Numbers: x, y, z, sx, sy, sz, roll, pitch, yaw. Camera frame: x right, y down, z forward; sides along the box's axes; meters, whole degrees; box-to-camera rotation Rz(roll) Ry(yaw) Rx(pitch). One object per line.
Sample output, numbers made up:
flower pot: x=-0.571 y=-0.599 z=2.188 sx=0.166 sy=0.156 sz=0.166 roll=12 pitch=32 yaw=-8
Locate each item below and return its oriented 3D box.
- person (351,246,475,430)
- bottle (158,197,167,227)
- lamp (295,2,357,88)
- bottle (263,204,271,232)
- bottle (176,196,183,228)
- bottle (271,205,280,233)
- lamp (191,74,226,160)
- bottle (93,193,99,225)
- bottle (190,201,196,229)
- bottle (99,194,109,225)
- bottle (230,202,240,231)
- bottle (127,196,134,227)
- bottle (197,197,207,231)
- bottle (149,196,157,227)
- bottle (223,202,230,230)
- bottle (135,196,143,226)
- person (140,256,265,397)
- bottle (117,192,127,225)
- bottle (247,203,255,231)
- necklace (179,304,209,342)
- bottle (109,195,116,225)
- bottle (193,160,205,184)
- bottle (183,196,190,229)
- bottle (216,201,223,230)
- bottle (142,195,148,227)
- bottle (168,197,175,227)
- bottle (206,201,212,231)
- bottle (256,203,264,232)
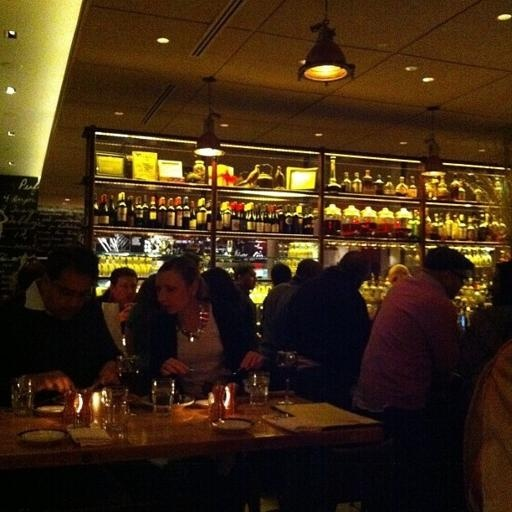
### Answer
person: x=0.908 y=0.397 z=2.867 sx=0.572 sy=0.899 sz=0.492 roll=3 pitch=0 yaw=-22
bottle: x=-1.016 y=-0.476 z=5.870 sx=0.098 sy=0.301 sz=0.134 roll=3 pitch=0 yaw=-10
lamp: x=0.445 y=-1.266 z=3.285 sx=0.342 sy=0.474 sz=0.305 roll=3 pitch=0 yaw=20
bottle: x=0.128 y=-0.431 z=6.282 sx=0.097 sy=0.312 sz=0.133 roll=3 pitch=0 yaw=0
bottle: x=-0.840 y=-0.479 z=5.924 sx=0.084 sy=0.325 sz=0.164 roll=3 pitch=0 yaw=-9
bottle: x=0.217 y=-0.429 z=6.325 sx=0.113 sy=0.295 sz=0.104 roll=3 pitch=0 yaw=0
lamp: x=-0.450 y=-1.266 z=5.285 sx=0.248 sy=0.696 sz=1.170 roll=3 pitch=1 yaw=-6
bottle: x=-1.628 y=-0.478 z=5.508 sx=0.059 sy=0.291 sz=0.132 roll=3 pitch=0 yaw=-17
bottle: x=-0.689 y=-0.450 z=5.951 sx=0.084 sy=0.290 sz=0.151 roll=3 pitch=0 yaw=-7
bottle: x=-1.579 y=-0.486 z=5.610 sx=0.105 sy=0.295 sz=0.237 roll=3 pitch=0 yaw=-16
bottle: x=-0.232 y=-0.460 z=6.120 sx=0.112 sy=0.326 sz=0.169 roll=3 pitch=0 yaw=-4
bottle: x=-1.331 y=-0.479 z=5.749 sx=0.084 sy=0.299 sz=0.221 roll=3 pitch=0 yaw=-15
bottle: x=-0.597 y=-0.464 z=5.957 sx=0.119 sy=0.331 sz=0.122 roll=3 pitch=0 yaw=0
bottle: x=-1.120 y=-0.501 z=5.885 sx=0.086 sy=0.305 sz=0.196 roll=3 pitch=0 yaw=-11
bottle: x=-0.333 y=-0.466 z=6.089 sx=0.099 sy=0.299 sz=0.101 roll=3 pitch=0 yaw=0
bottle: x=-1.248 y=-0.474 z=5.767 sx=0.089 sy=0.297 sz=0.149 roll=3 pitch=0 yaw=-12
person: x=-0.252 y=0.347 z=2.796 sx=0.622 sy=0.687 sz=0.571 roll=2 pitch=1 yaw=-21
bottle: x=-1.411 y=-0.513 z=5.697 sx=0.106 sy=0.311 sz=0.219 roll=3 pitch=0 yaw=-14
bottle: x=-0.063 y=-0.464 z=6.245 sx=0.106 sy=0.325 sz=0.229 roll=3 pitch=0 yaw=-2
necklace: x=-0.327 y=0.350 z=2.795 sx=0.180 sy=0.176 sz=0.039 roll=0 pitch=-15 yaw=-6
bottle: x=-1.507 y=-0.486 z=5.690 sx=0.080 sy=0.291 sz=0.128 roll=3 pitch=0 yaw=-19
bottle: x=-0.630 y=-0.944 z=6.000 sx=0.137 sy=0.243 sz=0.119 roll=3 pitch=1 yaw=-33
bottle: x=-0.763 y=-0.478 z=5.953 sx=0.084 sy=0.332 sz=0.146 roll=3 pitch=0 yaw=-9
bottle: x=-0.405 y=-0.451 z=6.061 sx=0.072 sy=0.298 sz=0.092 roll=3 pitch=0 yaw=-8
bottle: x=-1.192 y=-0.502 z=5.866 sx=0.067 sy=0.315 sz=0.205 roll=3 pitch=0 yaw=-11
bottle: x=-0.925 y=-0.476 z=5.914 sx=0.096 sy=0.307 sz=0.228 roll=3 pitch=0 yaw=-9
bottle: x=-0.496 y=-0.430 z=5.920 sx=0.067 sy=0.282 sz=0.167 roll=3 pitch=0 yaw=-16
bottle: x=0.046 y=-0.431 z=6.250 sx=0.118 sy=0.312 sz=0.156 roll=3 pitch=0 yaw=-1
